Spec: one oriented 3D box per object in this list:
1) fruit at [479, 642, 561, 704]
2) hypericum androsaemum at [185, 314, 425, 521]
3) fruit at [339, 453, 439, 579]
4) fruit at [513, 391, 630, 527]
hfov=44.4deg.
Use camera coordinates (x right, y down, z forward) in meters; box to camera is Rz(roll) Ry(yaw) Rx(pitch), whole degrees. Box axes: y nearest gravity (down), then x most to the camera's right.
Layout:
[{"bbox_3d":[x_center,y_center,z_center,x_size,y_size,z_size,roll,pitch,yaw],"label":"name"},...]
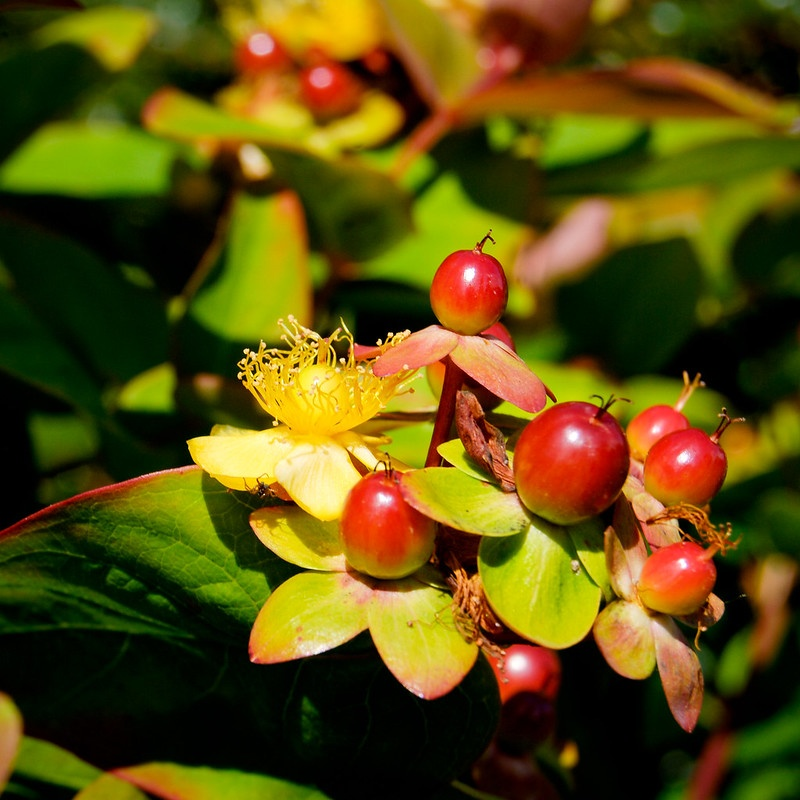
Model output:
[{"bbox_3d":[0.103,0.214,0.770,0.051,0.020,0.041,-1,78,-3],"label":"fruit"},{"bbox_3d":[-0.053,0.009,0.696,0.132,0.074,0.157,31,61,23],"label":"hypericum androsaemum"},{"bbox_3d":[-0.007,0.080,0.621,0.063,0.072,0.061,-3,26,-9],"label":"fruit"},{"bbox_3d":[0.105,0.040,0.603,0.053,0.057,0.078,40,105,43],"label":"fruit"}]
